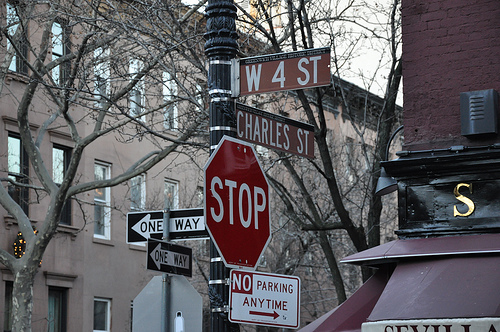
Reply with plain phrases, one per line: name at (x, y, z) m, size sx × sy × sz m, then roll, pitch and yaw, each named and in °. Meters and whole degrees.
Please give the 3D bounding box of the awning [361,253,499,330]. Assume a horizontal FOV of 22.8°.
awning at (3.611, 2.425, 23.481) m, size 2.270 × 1.572 × 0.632 m, roll -5°, pitch -16°, yaw 11°

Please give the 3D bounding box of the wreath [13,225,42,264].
wreath at (-7.158, 2.459, 38.635) m, size 0.347 × 0.876 × 0.391 m, roll 2°, pitch -16°, yaw -12°
